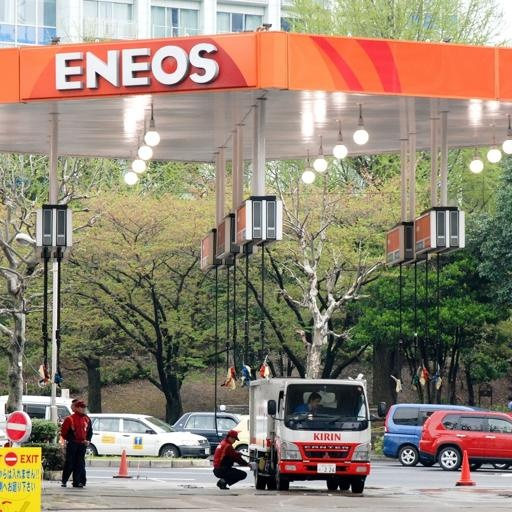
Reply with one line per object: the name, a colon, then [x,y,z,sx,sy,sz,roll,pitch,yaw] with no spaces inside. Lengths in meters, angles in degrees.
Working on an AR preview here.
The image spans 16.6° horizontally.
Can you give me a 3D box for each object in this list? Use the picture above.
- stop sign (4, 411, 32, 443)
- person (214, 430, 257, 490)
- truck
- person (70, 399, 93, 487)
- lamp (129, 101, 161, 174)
stop sign: [-4.819,3.380,34.513,0.408,0.647,0.663,1,-5,-28]
person: [-0.597,4.687,40.429,0.755,1.312,0.882,-4,-4,2]
truck: [1.072,4.368,41.419,1.780,1.973,3.602,1,-13,-7]
person: [-3.959,4.191,39.052,0.407,1.988,0.753,-1,-3,-11]
lamp: [-2.878,-3.023,43.082,0.694,3.209,0.843,4,-34,-1]
